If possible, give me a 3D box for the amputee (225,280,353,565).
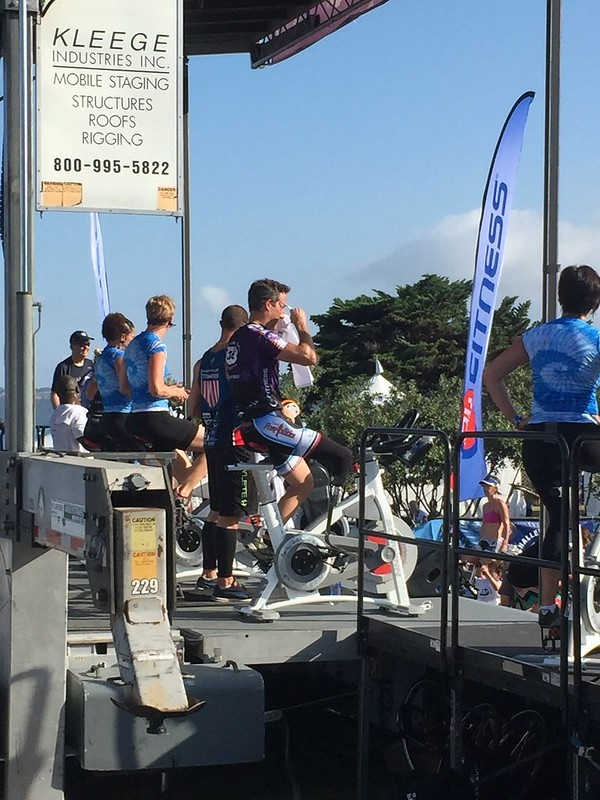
[{"bbox_3d":[-0.065,0.085,7.580,0.717,1.450,0.608,1,-2,-3],"label":"amputee"}]

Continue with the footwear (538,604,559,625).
[{"bbox_3d":[1.105,0.948,6.151,0.051,0.054,0.133,-1,-1,30],"label":"footwear"}]

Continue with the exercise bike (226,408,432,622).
[{"bbox_3d":[-0.059,0.712,7.931,1.497,1.440,0.807,-1,1,-20],"label":"exercise bike"}]

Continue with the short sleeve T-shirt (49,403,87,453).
[{"bbox_3d":[-1.758,0.204,10.566,0.373,0.373,0.196,-2,1,45],"label":"short sleeve T-shirt"}]

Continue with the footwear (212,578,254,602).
[{"bbox_3d":[-0.388,1.087,7.887,0.202,0.095,0.094,3,-4,1],"label":"footwear"}]

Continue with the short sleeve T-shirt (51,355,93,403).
[{"bbox_3d":[-1.874,-0.165,11.406,0.450,0.362,0.159,0,5,-45],"label":"short sleeve T-shirt"}]

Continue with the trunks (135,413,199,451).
[{"bbox_3d":[-0.816,0.178,8.521,0.341,0.270,0.267,3,6,-30],"label":"trunks"}]
